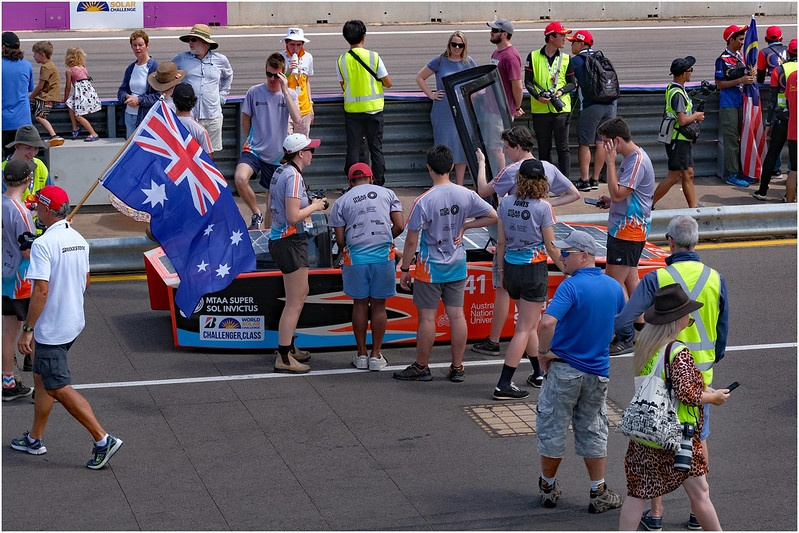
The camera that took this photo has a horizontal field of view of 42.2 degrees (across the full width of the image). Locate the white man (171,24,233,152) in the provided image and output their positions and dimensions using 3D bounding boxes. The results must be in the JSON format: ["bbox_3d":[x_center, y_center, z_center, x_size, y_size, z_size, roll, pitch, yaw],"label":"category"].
[{"bbox_3d":[-3.105,-2.930,16.388,0.732,2.111,0.761,-3,14,-20],"label":"white man"}]

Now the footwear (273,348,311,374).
[{"bbox_3d":[-1.326,1.176,12.716,0.455,0.323,0.211,-1,5,-7],"label":"footwear"}]

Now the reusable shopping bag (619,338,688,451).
[{"bbox_3d":[2.360,1.160,9.734,0.517,1.069,0.583,0,-1,1],"label":"reusable shopping bag"}]

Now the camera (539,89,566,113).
[{"bbox_3d":[2.577,-2.818,17.466,0.115,0.331,0.333,-23,22,49],"label":"camera"}]

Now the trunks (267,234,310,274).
[{"bbox_3d":[-1.353,-0.203,12.587,0.406,0.449,0.581,-16,15,-27],"label":"trunks"}]

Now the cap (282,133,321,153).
[{"bbox_3d":[-1.178,-1.452,12.432,0.377,0.143,0.256,-12,29,-21],"label":"cap"}]
